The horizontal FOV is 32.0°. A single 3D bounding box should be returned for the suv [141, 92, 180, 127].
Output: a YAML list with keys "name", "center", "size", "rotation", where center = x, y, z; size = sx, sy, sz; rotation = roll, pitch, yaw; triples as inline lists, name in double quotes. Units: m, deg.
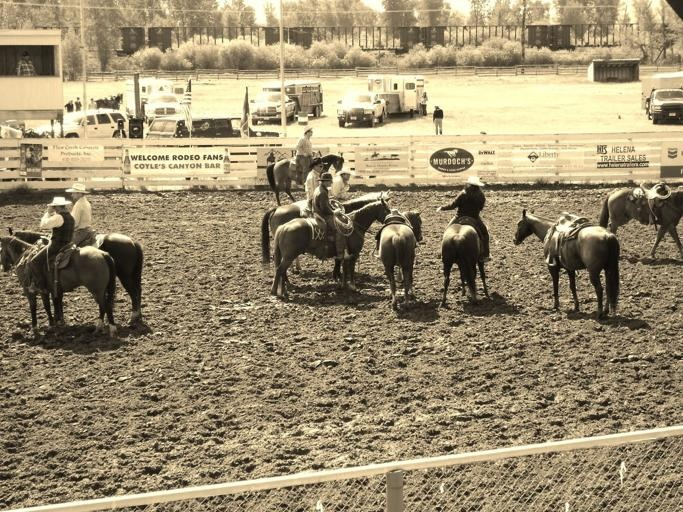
- name: "suv"
  center: [-8.645, -7.175, 57.372]
  size: [1.326, 1.163, 2.886]
  rotation: [-3, 4, -11]

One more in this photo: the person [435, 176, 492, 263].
- name: "person"
  center: [2.754, -1.150, 26.633]
  size: [0.812, 1.216, 2.281]
  rotation: [0, 24, 6]

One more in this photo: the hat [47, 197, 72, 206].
- name: "hat"
  center: [-6.769, -1.308, 28.620]
  size: [0.595, 0.179, 0.603]
  rotation: [-4, 2, -5]

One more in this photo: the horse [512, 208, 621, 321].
- name: "horse"
  center: [4.925, 0.123, 25.881]
  size: [0.984, 2.233, 2.891]
  rotation: [-9, 10, -34]

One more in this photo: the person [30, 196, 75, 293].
- name: "person"
  center: [-5.826, -0.175, 24.743]
  size: [0.676, 2.024, 0.479]
  rotation: [-5, 8, -13]

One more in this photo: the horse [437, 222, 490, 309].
- name: "horse"
  center: [2.692, 0.141, 26.119]
  size: [0.888, 1.743, 1.040]
  rotation: [0, 8, 21]

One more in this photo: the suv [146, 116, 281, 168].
- name: "suv"
  center: [-5.033, -4.000, 47.329]
  size: [5.139, 2.382, 3.006]
  rotation: [-7, 18, -20]

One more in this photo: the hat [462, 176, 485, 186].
- name: "hat"
  center: [2.849, -1.656, 26.289]
  size: [0.474, 0.181, 0.454]
  rotation: [10, 8, 32]

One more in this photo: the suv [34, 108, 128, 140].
- name: "suv"
  center: [-10.886, -5.145, 50.049]
  size: [3.920, 1.762, 1.918]
  rotation: [-5, 11, -40]

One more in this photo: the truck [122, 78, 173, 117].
- name: "truck"
  center: [-9.875, -8.107, 62.348]
  size: [2.216, 2.227, 3.698]
  rotation: [-5, 10, -23]

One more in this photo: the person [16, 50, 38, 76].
- name: "person"
  center: [-11.389, -6.927, 43.020]
  size: [0.641, 0.962, 1.698]
  rotation: [-5, 8, -13]
